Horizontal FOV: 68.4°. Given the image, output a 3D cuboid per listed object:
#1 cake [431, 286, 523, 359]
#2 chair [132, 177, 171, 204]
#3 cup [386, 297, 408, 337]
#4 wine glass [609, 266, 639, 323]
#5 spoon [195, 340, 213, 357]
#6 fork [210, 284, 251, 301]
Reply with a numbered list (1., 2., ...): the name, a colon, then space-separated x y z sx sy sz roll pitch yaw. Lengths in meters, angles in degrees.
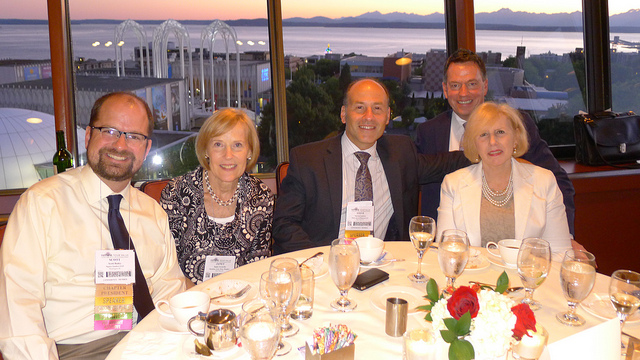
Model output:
1. cake: 0.851 0.767 2.671 0.414 0.389 0.402 -7 11 -33
2. chair: -1.421 0.094 3.995 0.201 0.334 0.204 -2 7 -29
3. cup: 0.489 0.872 2.941 0.163 0.182 0.165 3 -13 1
4. wine glass: 1.878 0.723 2.912 0.168 0.304 0.147 -2 6 21
5. spoon: -0.687 1.005 2.799 0.091 0.032 0.060 38 45 12
6. fork: -0.583 0.750 3.108 0.223 0.038 0.038 -10 38 -9
